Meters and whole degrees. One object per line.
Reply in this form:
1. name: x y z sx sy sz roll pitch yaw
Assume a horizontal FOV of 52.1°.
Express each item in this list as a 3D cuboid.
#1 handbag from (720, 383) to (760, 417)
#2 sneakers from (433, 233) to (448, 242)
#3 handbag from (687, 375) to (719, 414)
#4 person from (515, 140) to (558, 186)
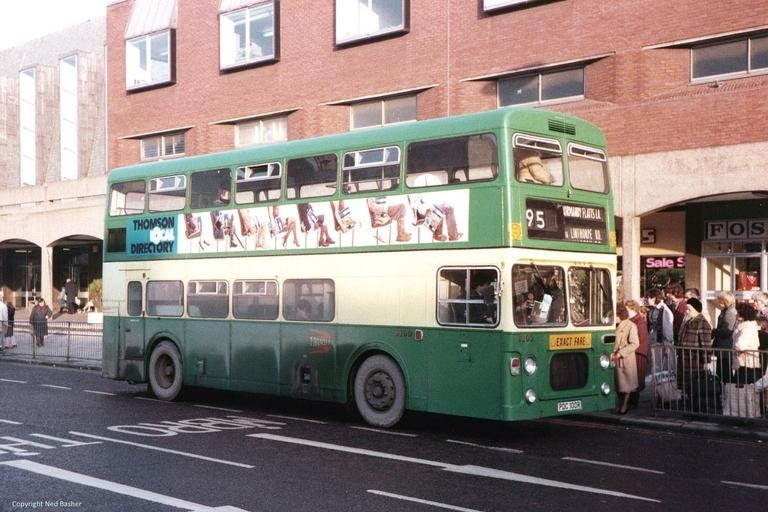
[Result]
1. handbag: 7.534 3.072 16.584 0.675 0.710 0.145 -4 -7 29
2. sneakers: 1.118 -0.358 15.625 0.235 0.075 0.134 5 15 38
3. handbag: 7.086 3.021 17.292 0.635 0.865 0.554 -4 -8 33
4. person: 3.027 -1.838 15.389 1.214 0.870 0.773 2 -4 -45
